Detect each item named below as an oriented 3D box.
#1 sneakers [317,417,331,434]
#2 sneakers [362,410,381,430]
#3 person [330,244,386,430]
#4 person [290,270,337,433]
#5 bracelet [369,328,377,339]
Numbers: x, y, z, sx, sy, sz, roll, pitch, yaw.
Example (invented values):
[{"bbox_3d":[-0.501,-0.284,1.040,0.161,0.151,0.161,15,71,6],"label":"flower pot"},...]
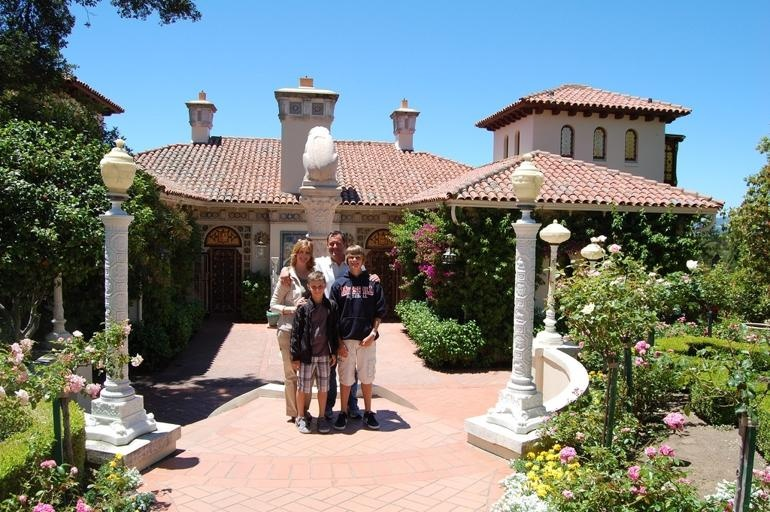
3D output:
[{"bbox_3d":[-0.869,2.380,9.250,0.115,0.117,0.295,0,1,-11],"label":"sneakers"},{"bbox_3d":[-0.199,2.354,9.428,0.133,0.145,0.367,-2,-2,-17],"label":"sneakers"},{"bbox_3d":[-0.375,1.167,9.199,0.743,2.581,0.464,-2,12,-1],"label":"person"},{"bbox_3d":[-0.981,1.337,9.069,0.651,2.299,0.352,-3,12,-6],"label":"person"},{"bbox_3d":[-0.154,1.065,9.071,0.092,0.135,0.129,-2,-8,2],"label":"bracelet"}]
